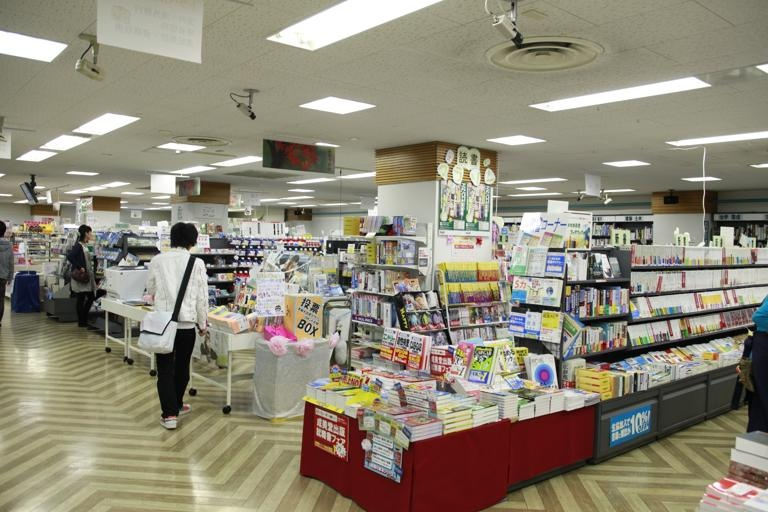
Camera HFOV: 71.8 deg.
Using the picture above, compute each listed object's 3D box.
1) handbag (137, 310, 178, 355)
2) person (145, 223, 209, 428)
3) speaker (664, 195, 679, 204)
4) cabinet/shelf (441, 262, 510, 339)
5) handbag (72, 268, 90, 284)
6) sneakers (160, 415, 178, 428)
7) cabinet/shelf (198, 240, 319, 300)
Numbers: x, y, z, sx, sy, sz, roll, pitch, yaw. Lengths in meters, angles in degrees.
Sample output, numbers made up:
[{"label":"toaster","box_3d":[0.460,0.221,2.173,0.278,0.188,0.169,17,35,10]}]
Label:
[{"label":"handbag","box_3d":[-2.821,0.953,6.573,0.467,0.540,0.283,-1,11,-19]},{"label":"person","box_3d":[-2.655,0.884,6.857,0.682,2.610,0.573,-3,12,-29]},{"label":"speaker","box_3d":[8.464,-1.649,15.525,0.452,0.211,0.284,-1,-7,15]},{"label":"cabinet/shelf","box_3d":[1.606,0.829,9.497,1.566,1.527,0.599,-1,-2,-29]},{"label":"handbag","box_3d":[-6.523,0.412,11.344,0.299,0.260,0.124,14,1,-41]},{"label":"sneakers","box_3d":[-2.756,2.121,6.778,0.115,0.100,0.254,1,3,-26]},{"label":"cabinet/shelf","box_3d":[-2.448,0.275,9.755,1.517,0.639,0.429,-3,7,-29]}]
